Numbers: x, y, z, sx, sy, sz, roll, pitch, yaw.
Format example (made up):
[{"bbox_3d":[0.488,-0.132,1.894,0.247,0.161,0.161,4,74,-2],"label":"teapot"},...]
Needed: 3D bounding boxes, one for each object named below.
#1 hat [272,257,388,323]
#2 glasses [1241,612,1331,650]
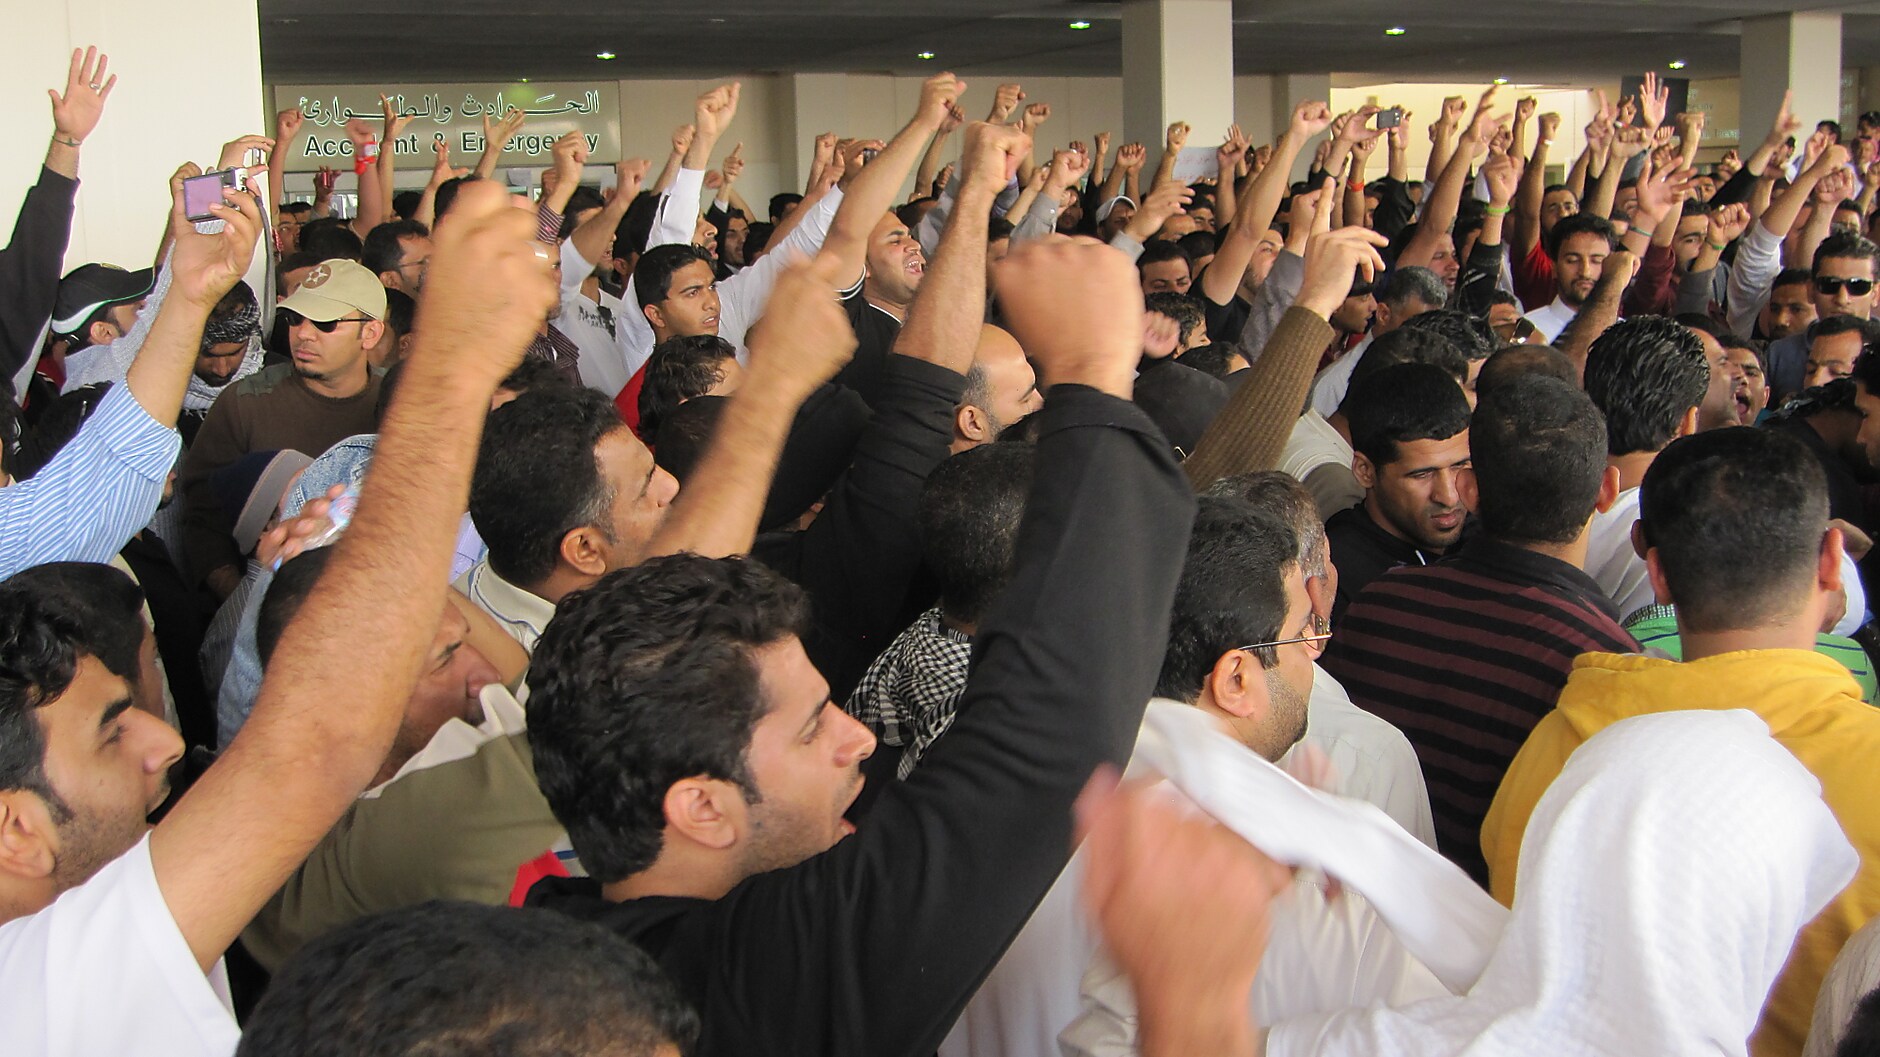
[{"bbox_3d":[-2.097,-0.819,4.493,0.234,0.182,0.331,18,6,40],"label":"hat"},{"bbox_3d":[0.657,0.204,2.401,0.104,0.032,0.098,-13,5,-7],"label":"glasses"}]
